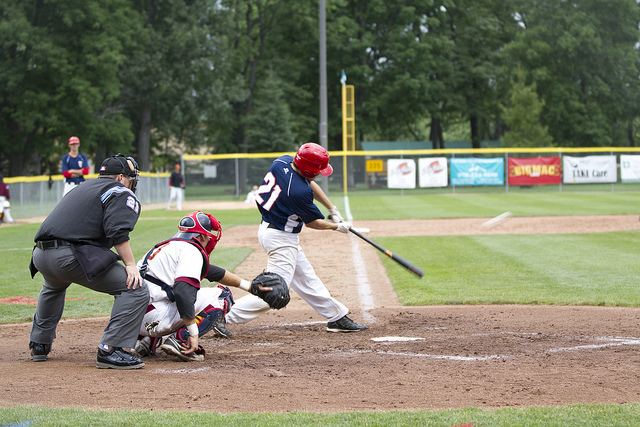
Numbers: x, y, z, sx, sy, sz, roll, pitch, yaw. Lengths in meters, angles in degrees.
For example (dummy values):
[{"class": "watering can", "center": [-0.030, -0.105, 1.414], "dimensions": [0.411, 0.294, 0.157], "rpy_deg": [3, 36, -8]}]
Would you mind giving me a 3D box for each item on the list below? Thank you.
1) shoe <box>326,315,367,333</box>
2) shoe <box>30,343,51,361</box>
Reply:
[{"class": "shoe", "center": [0.695, 3.107, 25.735], "dimensions": [1.249, 0.530, 0.395], "rpy_deg": [0, -2, -2]}, {"class": "shoe", "center": [-7.415, 3.680, 24.461], "dimensions": [0.482, 0.470, 0.065], "rpy_deg": [-1, 1, -4]}]
